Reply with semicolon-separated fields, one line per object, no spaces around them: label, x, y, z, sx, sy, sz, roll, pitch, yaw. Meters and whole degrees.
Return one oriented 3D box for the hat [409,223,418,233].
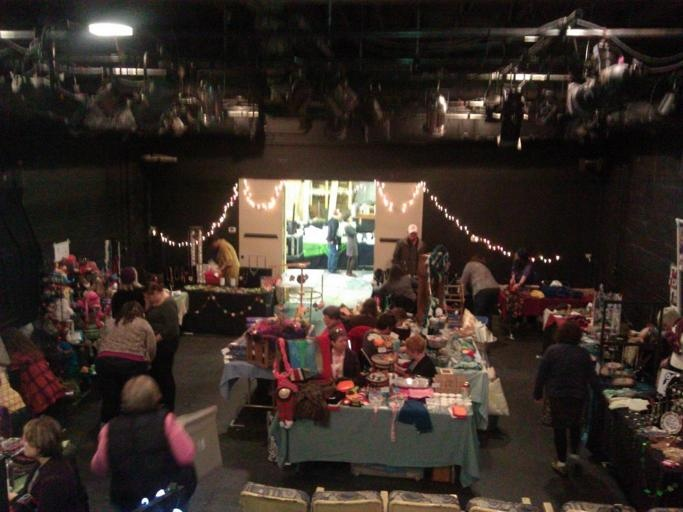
hat;1.329;-0.528;11.790;0.168;0.204;0.244;3;34;3
